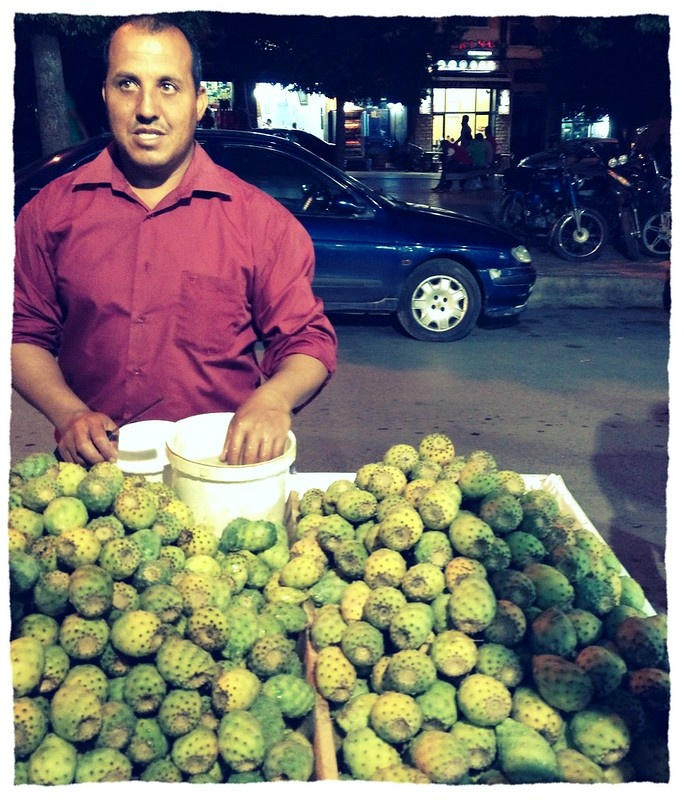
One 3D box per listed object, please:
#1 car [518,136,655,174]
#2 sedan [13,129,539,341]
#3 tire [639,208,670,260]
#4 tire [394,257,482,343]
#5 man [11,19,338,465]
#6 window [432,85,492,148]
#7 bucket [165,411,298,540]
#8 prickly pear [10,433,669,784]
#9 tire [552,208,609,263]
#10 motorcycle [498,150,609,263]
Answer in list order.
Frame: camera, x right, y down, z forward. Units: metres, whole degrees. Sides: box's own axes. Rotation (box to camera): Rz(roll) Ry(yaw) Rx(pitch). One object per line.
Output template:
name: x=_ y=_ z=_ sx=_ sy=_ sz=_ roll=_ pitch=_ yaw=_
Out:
car: x=4.801 y=-4.793 z=14.134 sx=2.212 sy=0.874 sz=1.363 roll=5 pitch=29 yaw=3
sedan: x=-0.986 y=-2.062 z=9.402 sx=6.528 sy=2.021 sz=2.611 roll=-3 pitch=13 yaw=-8
tire: x=5.777 y=-3.051 z=13.232 sx=0.557 sy=0.825 sz=0.411 roll=1 pitch=17 yaw=6
tire: x=1.175 y=-1.283 z=8.894 sx=1.062 sy=0.962 sz=0.325 roll=-3 pitch=12 yaw=-4
man: x=-0.588 y=-0.521 z=2.263 sx=1.102 sy=1.291 sz=0.826 roll=-1 pitch=17 yaw=1
window: x=6.435 y=-15.598 z=39.175 sx=3.618 sy=3.401 sz=0.109 roll=6 pitch=-19 yaw=11
bucket: x=-0.347 y=0.202 z=2.139 sx=0.382 sy=0.319 sz=0.381 roll=0 pitch=12 yaw=0
prickly pear: x=-0.015 y=0.580 z=1.675 sx=1.101 sy=0.344 sz=1.007 roll=-3 pitch=22 yaw=-3
tire: x=4.281 y=-2.962 z=12.940 sx=1.072 sy=0.977 sz=0.267 roll=-11 pitch=12 yaw=-5
motorcycle: x=3.841 y=-3.794 z=13.707 sx=1.333 sy=1.731 sz=2.860 roll=-12 pitch=30 yaw=-30
